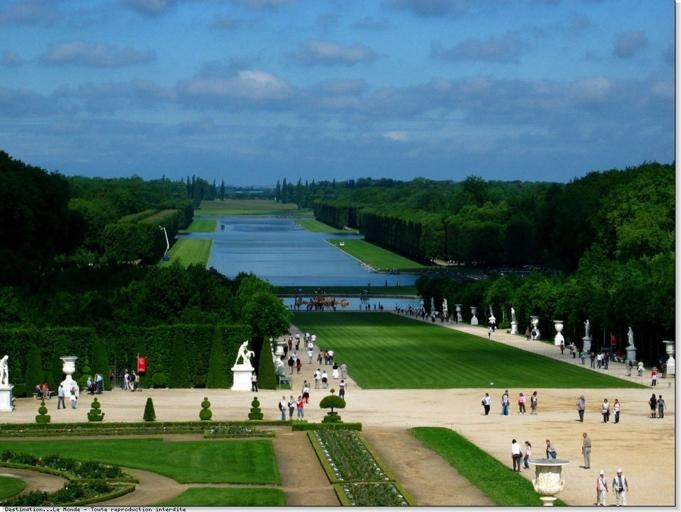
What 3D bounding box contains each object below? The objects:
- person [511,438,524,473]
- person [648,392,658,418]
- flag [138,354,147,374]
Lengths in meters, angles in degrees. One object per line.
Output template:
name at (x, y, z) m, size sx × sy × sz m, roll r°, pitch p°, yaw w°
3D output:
person at (7.880, 8.886, 51.415) m, size 0.475 × 1.197 × 1.435 m, roll 0°, pitch 0°, yaw 9°
person at (16.469, 7.841, 60.431) m, size 0.374 × 0.977 × 1.493 m, roll 0°, pitch 0°, yaw 15°
flag at (-12.248, 6.521, 70.244) m, size 0.548 × 1.152 × 0.430 m, roll 0°, pitch 0°, yaw -29°
